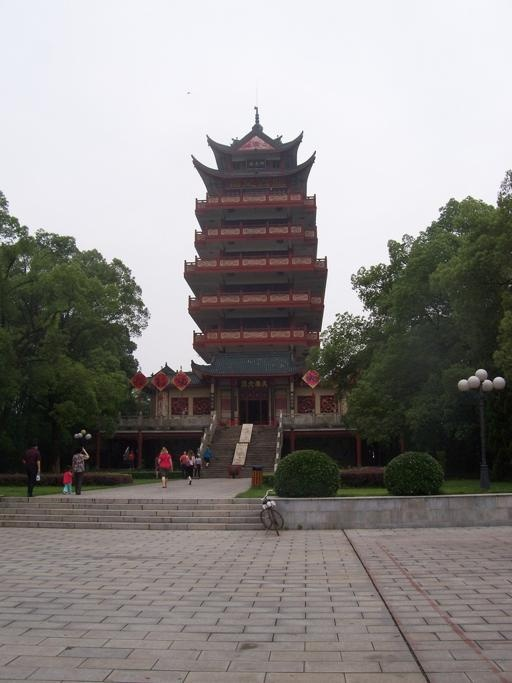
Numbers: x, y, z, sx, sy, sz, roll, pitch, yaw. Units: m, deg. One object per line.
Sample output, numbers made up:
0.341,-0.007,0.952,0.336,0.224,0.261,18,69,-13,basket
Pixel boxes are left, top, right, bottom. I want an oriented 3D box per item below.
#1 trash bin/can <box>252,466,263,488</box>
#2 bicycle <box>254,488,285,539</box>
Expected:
0.029,4.225,22.087,0.284,0.623,0.873,2,-13,-1,trash bin/can
0.268,3.342,13.474,0.417,0.475,0.830,-8,-29,-8,bicycle
